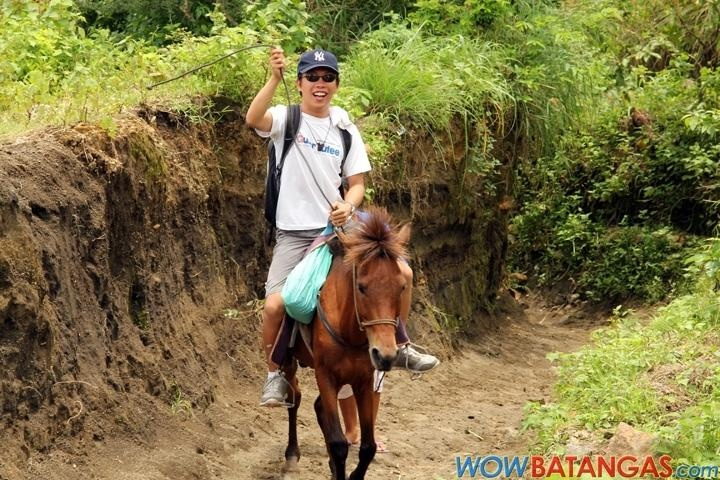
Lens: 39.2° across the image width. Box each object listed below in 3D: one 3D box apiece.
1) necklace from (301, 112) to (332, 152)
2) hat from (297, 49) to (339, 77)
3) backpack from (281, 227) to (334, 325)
[{"bbox_3d":[-0.610,-1.412,13.416,0.319,0.471,0.110,0,-14,-14],"label":"necklace"},{"bbox_3d":[-0.566,-2.321,13.411,0.544,0.373,0.295,4,11,-3],"label":"hat"},{"bbox_3d":[-0.625,0.436,13.256,0.666,1.181,0.431,22,-12,-35],"label":"backpack"}]
